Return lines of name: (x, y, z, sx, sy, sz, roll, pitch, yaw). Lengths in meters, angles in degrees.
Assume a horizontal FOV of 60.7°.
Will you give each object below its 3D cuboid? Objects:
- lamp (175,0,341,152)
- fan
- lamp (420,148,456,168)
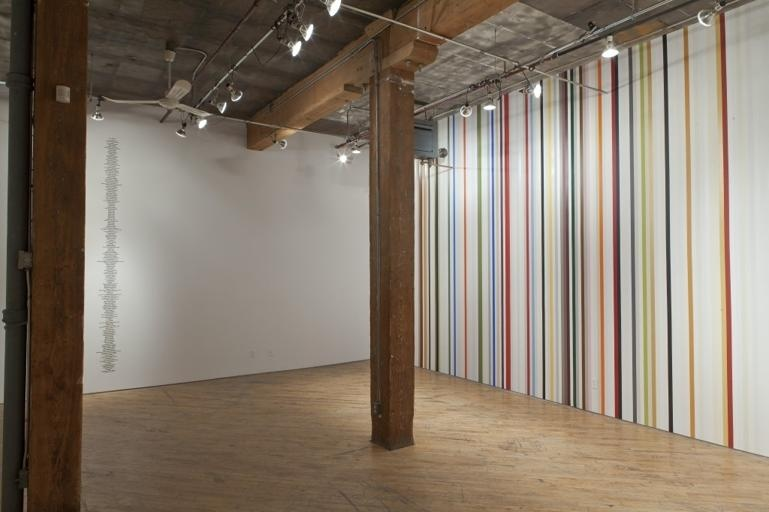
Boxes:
lamp: (-1.420, -2.232, 7.745, 1.090, 1.280, 3.748, -5, 11, -24)
fan: (-2.592, -1.956, 8.128, 1.039, 0.657, 1.197, -13, -15, 42)
lamp: (0.845, -1.551, 10.475, 0.498, 0.236, 0.299, -3, 5, -22)
